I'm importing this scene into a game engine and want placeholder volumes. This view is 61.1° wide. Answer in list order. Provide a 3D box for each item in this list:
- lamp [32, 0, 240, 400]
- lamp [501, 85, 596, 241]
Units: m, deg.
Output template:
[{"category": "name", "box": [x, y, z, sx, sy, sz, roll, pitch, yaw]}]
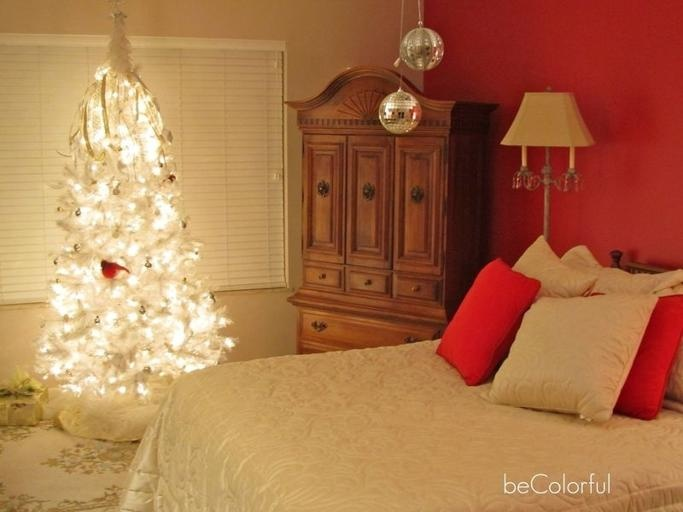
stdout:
[{"category": "lamp", "box": [-1.339, -0.292, 3.658, 1.108, 2.464, 0.677, 0, 13, -9]}, {"category": "lamp", "box": [1.188, -0.505, 3.361, 0.470, 0.868, 0.602, 8, 13, 22]}]
